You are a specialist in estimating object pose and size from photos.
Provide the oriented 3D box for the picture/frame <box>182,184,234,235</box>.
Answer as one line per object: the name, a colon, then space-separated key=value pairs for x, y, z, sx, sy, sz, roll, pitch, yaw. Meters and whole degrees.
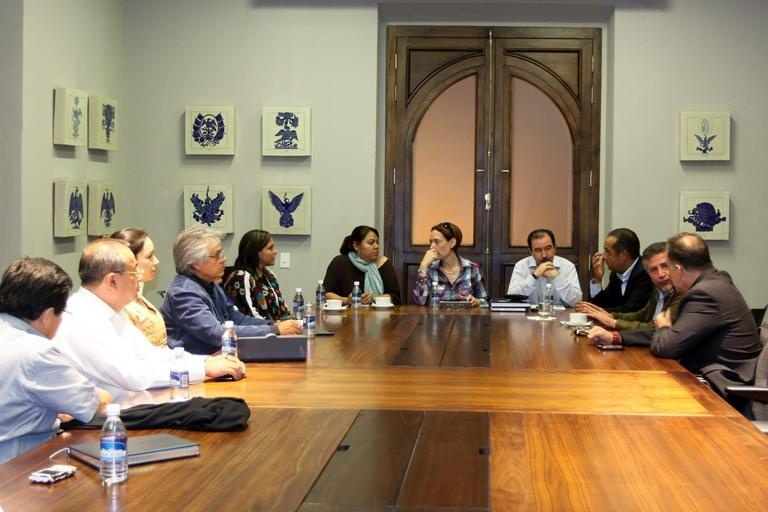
picture/frame: x=-1.879 y=-0.508 z=5.798 sx=0.642 sy=0.727 sz=0.087 roll=0 pitch=-5 yaw=0

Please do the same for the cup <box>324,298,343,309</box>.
cup: x=-0.447 y=0.434 z=4.900 sx=0.106 sy=0.056 sz=0.086 roll=-5 pitch=6 yaw=-32

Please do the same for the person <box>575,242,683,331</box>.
person: x=1.978 y=0.310 z=4.271 sx=0.728 sy=0.431 sz=0.571 roll=-17 pitch=9 yaw=16

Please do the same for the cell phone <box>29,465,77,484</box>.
cell phone: x=-1.080 y=0.703 z=1.758 sx=0.123 sy=0.029 sz=0.120 roll=-1 pitch=4 yaw=19

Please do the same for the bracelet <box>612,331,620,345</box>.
bracelet: x=1.536 y=0.549 z=3.541 sx=0.042 sy=0.074 sz=0.069 roll=3 pitch=-3 yaw=9

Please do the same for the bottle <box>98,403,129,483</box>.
bottle: x=-0.888 y=0.596 z=1.756 sx=0.090 sy=0.242 sz=0.154 roll=-5 pitch=5 yaw=-28

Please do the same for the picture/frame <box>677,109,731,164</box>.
picture/frame: x=3.510 y=-1.312 z=5.854 sx=0.505 sy=0.544 sz=0.057 roll=0 pitch=1 yaw=1

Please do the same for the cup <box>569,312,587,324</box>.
cup: x=1.503 y=0.470 z=4.143 sx=0.094 sy=0.078 sz=0.092 roll=-1 pitch=4 yaw=0

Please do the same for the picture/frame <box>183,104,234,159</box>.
picture/frame: x=-1.963 y=-1.420 z=6.081 sx=0.544 sy=0.592 sz=0.093 roll=0 pitch=3 yaw=0

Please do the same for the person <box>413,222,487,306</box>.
person: x=0.659 y=0.076 z=5.367 sx=0.695 sy=0.805 sz=0.275 roll=-1 pitch=5 yaw=14

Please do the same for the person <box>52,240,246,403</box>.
person: x=-1.250 y=0.390 z=2.900 sx=0.979 sy=0.937 sz=0.576 roll=-1 pitch=11 yaw=-26

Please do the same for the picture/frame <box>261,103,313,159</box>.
picture/frame: x=-1.076 y=-1.410 z=6.049 sx=0.539 sy=0.584 sz=0.043 roll=0 pitch=-2 yaw=0

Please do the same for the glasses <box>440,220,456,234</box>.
glasses: x=0.651 y=-0.298 z=5.352 sx=0.107 sy=0.075 sz=0.138 roll=5 pitch=-8 yaw=12

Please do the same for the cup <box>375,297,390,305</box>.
cup: x=-0.004 y=0.417 z=5.079 sx=0.097 sy=0.050 sz=0.070 roll=2 pitch=0 yaw=0
